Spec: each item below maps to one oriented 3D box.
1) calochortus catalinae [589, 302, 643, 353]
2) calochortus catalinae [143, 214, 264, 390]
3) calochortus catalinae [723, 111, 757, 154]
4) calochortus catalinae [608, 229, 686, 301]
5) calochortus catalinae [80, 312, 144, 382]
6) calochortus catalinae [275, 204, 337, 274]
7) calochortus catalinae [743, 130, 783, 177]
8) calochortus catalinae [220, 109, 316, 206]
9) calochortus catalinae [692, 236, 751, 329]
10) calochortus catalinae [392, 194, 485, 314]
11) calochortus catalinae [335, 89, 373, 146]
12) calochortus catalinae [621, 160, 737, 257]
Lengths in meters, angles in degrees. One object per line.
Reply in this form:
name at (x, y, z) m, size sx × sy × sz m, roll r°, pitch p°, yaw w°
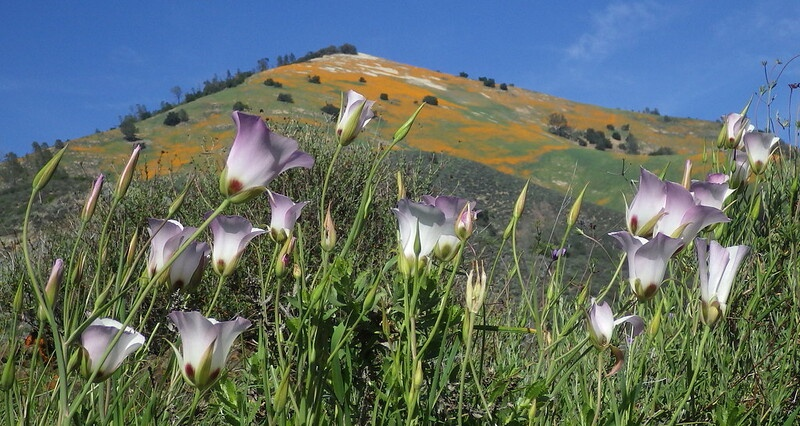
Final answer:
calochortus catalinae at (1.041, 0.556, 2.368) m, size 0.194 × 0.210 × 0.361 m, roll -3°, pitch -17°, yaw 41°
calochortus catalinae at (-0.973, 0.386, 2.302) m, size 0.601 × 0.799 × 0.343 m, roll -1°, pitch -16°, yaw 37°
calochortus catalinae at (2.304, -0.563, 3.410) m, size 0.247 × 0.234 × 0.180 m, roll 10°, pitch -1°, yaw 10°
calochortus catalinae at (1.200, 0.263, 2.395) m, size 0.339 × 0.321 × 0.219 m, roll 5°, pitch -13°, yaw 16°
calochortus catalinae at (-1.330, 0.616, 2.258) m, size 0.288 × 0.289 × 0.257 m, roll 14°, pitch -10°, yaw -18°
calochortus catalinae at (-0.473, 0.149, 2.480) m, size 0.252 × 0.386 × 0.302 m, roll 11°, pitch -13°, yaw -13°
calochortus catalinae at (2.414, -0.388, 3.286) m, size 0.169 × 0.278 × 0.386 m, roll -2°, pitch -16°, yaw 39°
calochortus catalinae at (-0.620, -0.237, 2.367) m, size 0.415 × 0.379 × 0.411 m, roll 40°, pitch -6°, yaw -20°
calochortus catalinae at (1.572, 0.334, 2.400) m, size 0.201 × 0.459 × 0.392 m, roll 0°, pitch -15°, yaw 34°
calochortus catalinae at (0.148, 0.197, 2.442) m, size 0.392 × 0.590 × 0.346 m, roll 8°, pitch -13°, yaw 4°
calochortus catalinae at (-0.264, -0.472, 2.508) m, size 0.193 × 0.280 × 0.162 m, roll 19°, pitch -7°, yaw 4°
calochortus catalinae at (1.365, -0.015, 2.547) m, size 0.451 × 0.259 × 0.446 m, roll 26°, pitch -2°, yaw -5°
